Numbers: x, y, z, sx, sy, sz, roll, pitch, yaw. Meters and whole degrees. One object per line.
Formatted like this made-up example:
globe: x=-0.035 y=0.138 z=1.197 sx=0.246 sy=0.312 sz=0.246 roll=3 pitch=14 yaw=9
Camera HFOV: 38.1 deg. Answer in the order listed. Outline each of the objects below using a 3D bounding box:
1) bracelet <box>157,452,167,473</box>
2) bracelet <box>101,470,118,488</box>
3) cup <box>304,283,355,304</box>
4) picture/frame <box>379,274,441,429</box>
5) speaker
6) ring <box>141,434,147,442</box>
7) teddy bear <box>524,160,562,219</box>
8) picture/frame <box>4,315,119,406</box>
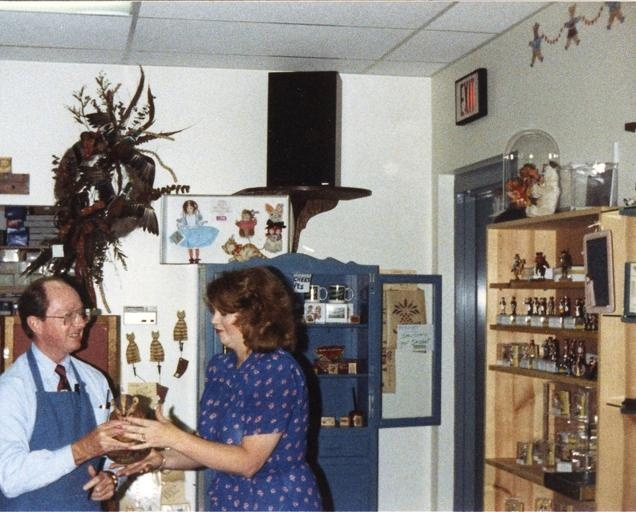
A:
bracelet: x=-0.754 y=0.994 z=4.413 sx=0.049 sy=0.080 sz=0.028 roll=1 pitch=-23 yaw=-7
bracelet: x=-1.005 y=1.072 z=4.444 sx=0.076 sy=0.064 sz=0.081 roll=-1 pitch=-1 yaw=19
cup: x=0.078 y=0.256 z=5.863 sx=0.219 sy=0.110 sz=0.133 roll=-2 pitch=-5 yaw=5
picture/frame: x=0.552 y=0.611 z=5.955 sx=0.449 sy=0.964 sz=0.256 roll=1 pitch=-1 yaw=-29
speaker: x=-0.119 y=-0.759 z=6.088 sx=0.448 sy=0.882 sz=0.303 roll=2 pitch=-24 yaw=-3
ring: x=-0.773 y=0.806 z=4.055 sx=0.018 sy=0.031 sz=0.007 roll=0 pitch=0 yaw=2
teddy bear: x=1.148 y=-0.331 z=4.692 sx=0.178 sy=0.280 sz=0.117 roll=0 pitch=-1 yaw=16
picture/frame: x=-1.414 y=0.573 z=4.959 sx=0.462 sy=0.530 sz=0.068 roll=1 pitch=-6 yaw=-6
